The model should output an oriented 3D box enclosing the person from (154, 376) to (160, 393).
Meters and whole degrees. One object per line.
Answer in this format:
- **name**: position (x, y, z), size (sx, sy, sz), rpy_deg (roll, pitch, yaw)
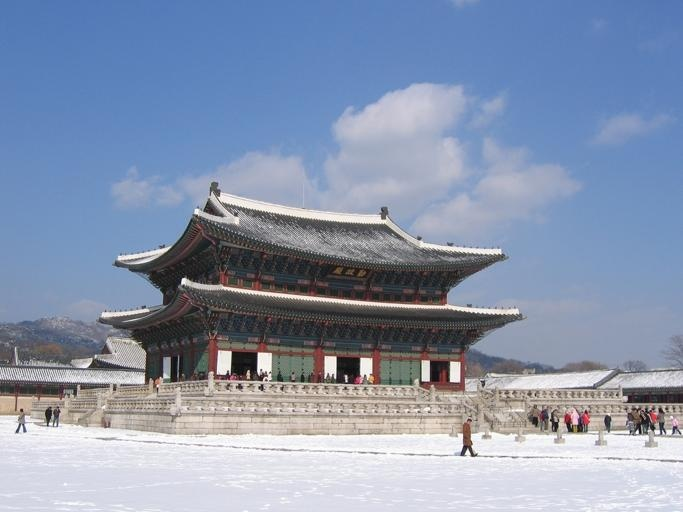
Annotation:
- **person**: position (-10.890, 7.693, 64.981), size (0.314, 0.960, 0.946), rpy_deg (3, -17, -11)
